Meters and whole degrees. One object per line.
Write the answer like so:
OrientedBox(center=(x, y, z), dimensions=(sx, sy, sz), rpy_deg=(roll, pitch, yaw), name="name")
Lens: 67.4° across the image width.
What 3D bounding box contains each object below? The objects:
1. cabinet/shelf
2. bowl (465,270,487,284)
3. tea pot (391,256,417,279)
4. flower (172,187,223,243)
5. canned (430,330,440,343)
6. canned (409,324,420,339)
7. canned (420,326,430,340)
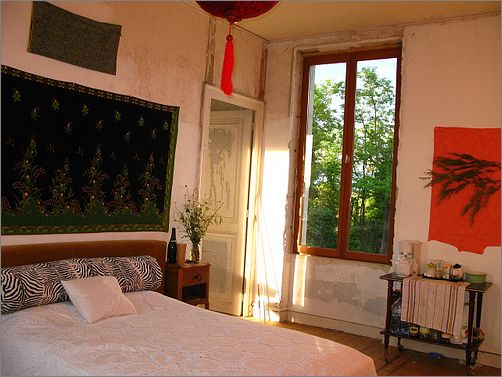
OrientedBox(center=(2.098, 1.464, 4.128), dimensions=(0.950, 0.891, 0.469), rpy_deg=(3, 7, 31), name="cabinet/shelf")
OrientedBox(center=(2.502, 0.962, 4.123), dimensions=(0.155, 0.058, 0.139), rpy_deg=(-2, 1, -13), name="bowl")
OrientedBox(center=(1.791, 0.917, 4.379), dimensions=(0.244, 0.241, 0.191), rpy_deg=(3, -6, 6), name="tea pot")
OrientedBox(center=(-0.704, 0.307, 4.810), dimensions=(0.597, 0.685, 0.609), rpy_deg=(3, 1, 31), name="flower")
OrientedBox(center=(2.020, 1.601, 4.108), dimensions=(0.106, 0.119, 0.104), rpy_deg=(-2, 4, -36), name="canned")
OrientedBox(center=(1.820, 1.577, 4.173), dimensions=(0.108, 0.115, 0.107), rpy_deg=(-2, 2, -27), name="canned")
OrientedBox(center=(1.910, 1.579, 4.144), dimensions=(0.114, 0.123, 0.114), rpy_deg=(-1, 5, -7), name="canned")
